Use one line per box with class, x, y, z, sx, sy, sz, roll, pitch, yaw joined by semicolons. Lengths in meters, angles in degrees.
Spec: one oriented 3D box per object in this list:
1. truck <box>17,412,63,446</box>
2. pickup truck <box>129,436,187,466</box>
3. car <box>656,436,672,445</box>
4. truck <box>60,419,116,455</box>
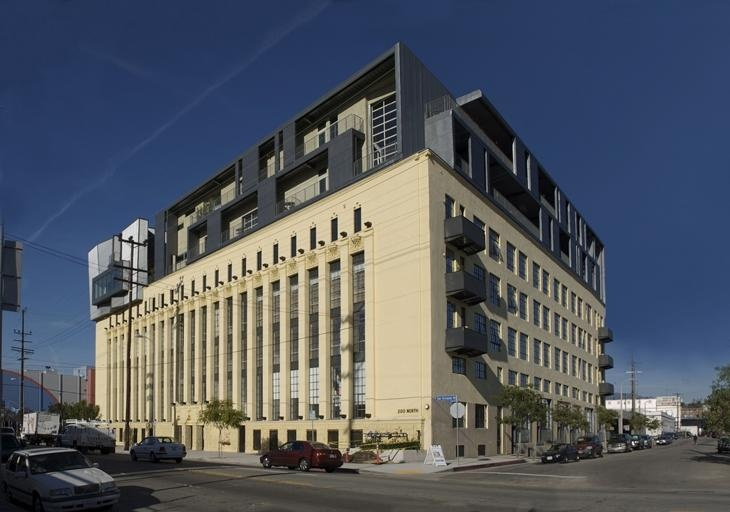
truck;-36.945;19.565;113.500;4.134;4.511;7.981;9;-14;-38
pickup truck;-18.554;16.860;86.000;2.154;1.591;4.736;11;-15;-43
car;41.649;25.687;137.890;1.323;0.994;2.954;-2;-4;30
truck;-27.203;17.581;96.339;3.400;2.749;5.623;9;-9;-39
